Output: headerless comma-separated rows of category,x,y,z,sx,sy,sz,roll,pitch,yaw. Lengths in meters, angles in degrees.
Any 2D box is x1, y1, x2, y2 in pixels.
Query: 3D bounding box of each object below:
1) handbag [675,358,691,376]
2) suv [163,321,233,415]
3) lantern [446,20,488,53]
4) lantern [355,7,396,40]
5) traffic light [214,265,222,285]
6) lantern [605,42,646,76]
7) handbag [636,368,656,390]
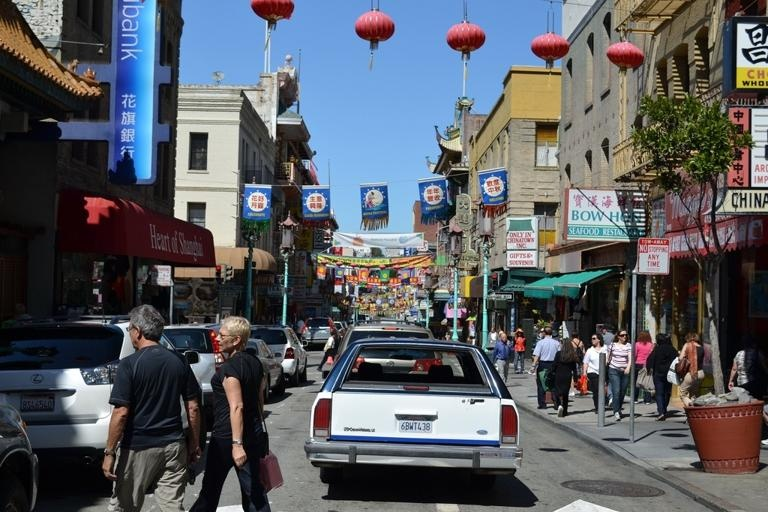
handbag,6.955,2.581,21.224,0.267,0.354,0.172,22,1,-33
suv,-4.268,2.547,20.260,1.577,1.653,2.862,0,5,-3
lantern,2.066,-5.470,22.682,0.785,1.016,0.931,3,-6,-32
lantern,-0.213,-5.196,20.532,0.806,0.666,0.382,-1,-5,16
traffic light,-7.196,0.771,39.516,0.201,0.937,0.515,6,-3,-28
lantern,6.807,-5.662,25.971,1.046,0.982,1.116,1,1,2
handbag,6.722,3.135,23.401,0.266,0.664,0.619,3,1,-9
